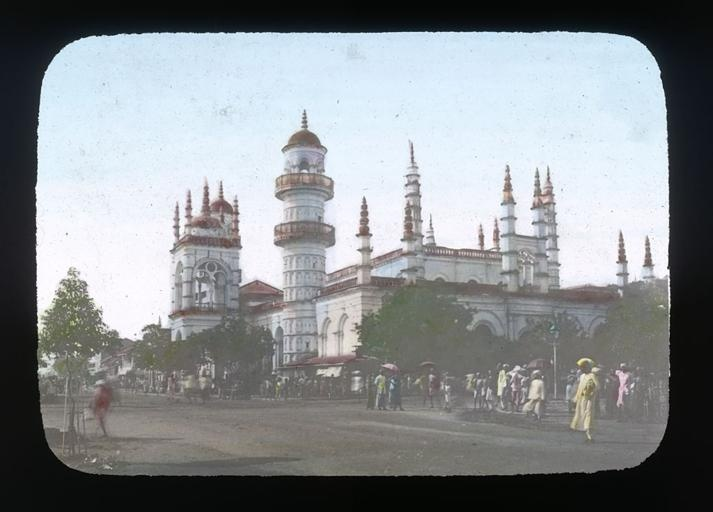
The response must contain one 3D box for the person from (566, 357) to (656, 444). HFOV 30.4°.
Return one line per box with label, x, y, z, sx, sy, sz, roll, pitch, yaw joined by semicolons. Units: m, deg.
person;5.549;3.195;28.353;1.160;3.236;1.533;6;-7;-18
